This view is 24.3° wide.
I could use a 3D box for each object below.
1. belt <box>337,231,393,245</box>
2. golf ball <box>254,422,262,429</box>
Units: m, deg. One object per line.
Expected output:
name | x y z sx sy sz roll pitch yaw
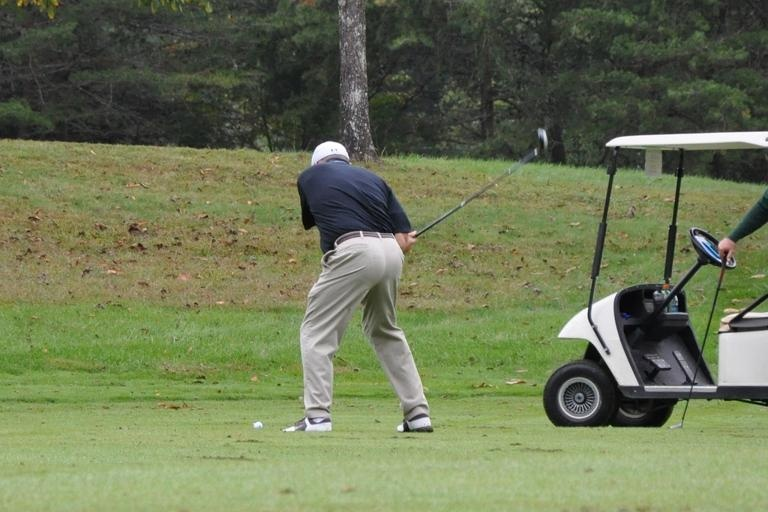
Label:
belt | -0.469 -0.439 44.543 1.431 0.361 0.141 1 7 -9
golf ball | -3.118 4.311 44.622 0.183 0.119 0.185 -3 -8 0
